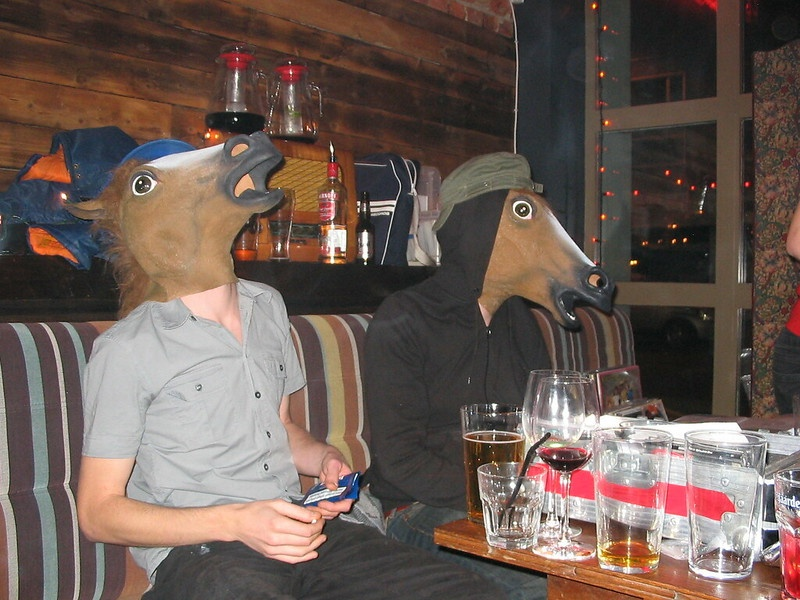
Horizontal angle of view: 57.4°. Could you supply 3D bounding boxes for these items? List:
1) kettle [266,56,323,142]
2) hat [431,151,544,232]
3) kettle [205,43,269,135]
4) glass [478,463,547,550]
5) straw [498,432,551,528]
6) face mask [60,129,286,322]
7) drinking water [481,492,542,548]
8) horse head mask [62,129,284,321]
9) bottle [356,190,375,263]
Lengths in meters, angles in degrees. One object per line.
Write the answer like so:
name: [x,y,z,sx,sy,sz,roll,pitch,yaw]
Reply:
kettle: [-0.453,-0.825,3.072,0.287,0.339,0.249,0,9,-14]
hat: [0.263,-0.288,2.224,0.257,0.130,0.240,-21,-1,20]
kettle: [-0.650,-0.800,2.904,0.251,0.351,0.443,0,0,-13]
glass: [0.234,0.458,1.626,0.164,0.173,0.162,-1,-6,1]
straw: [0.270,0.398,1.589,0.034,0.237,0.034,40,-30,-25]
face mask: [-0.581,-0.215,1.968,0.604,0.417,0.286,-11,6,11]
drinking water: [0.254,0.483,1.594,0.134,0.104,0.123,16,-21,-9]
horse head mask: [-0.587,-0.213,1.969,0.610,0.432,0.269,-11,6,9]
bottle: [-0.140,-0.282,2.936,0.074,0.298,0.078,-1,3,0]
